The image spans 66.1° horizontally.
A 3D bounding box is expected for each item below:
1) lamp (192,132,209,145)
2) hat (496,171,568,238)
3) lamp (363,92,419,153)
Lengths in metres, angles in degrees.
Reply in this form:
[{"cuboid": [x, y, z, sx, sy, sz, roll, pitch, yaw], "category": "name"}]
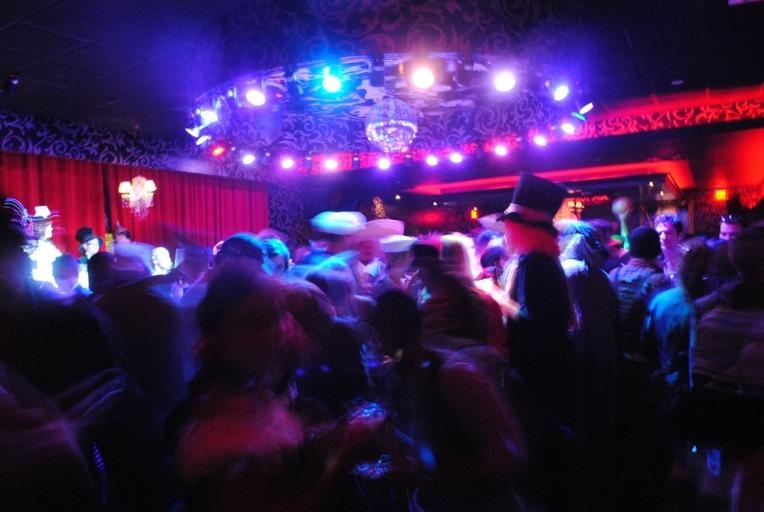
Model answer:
[{"cuboid": [-1.446, -0.925, 4.742, 0.116, 0.112, 0.030, -13, -38, 16], "category": "lamp"}, {"cuboid": [1.100, -0.336, 3.985, 0.451, 0.419, 0.416, 13, 9, -23], "category": "hat"}, {"cuboid": [0.092, -1.196, 5.360, 0.441, 0.498, 0.452, 0, -1, -1], "category": "lamp"}]
